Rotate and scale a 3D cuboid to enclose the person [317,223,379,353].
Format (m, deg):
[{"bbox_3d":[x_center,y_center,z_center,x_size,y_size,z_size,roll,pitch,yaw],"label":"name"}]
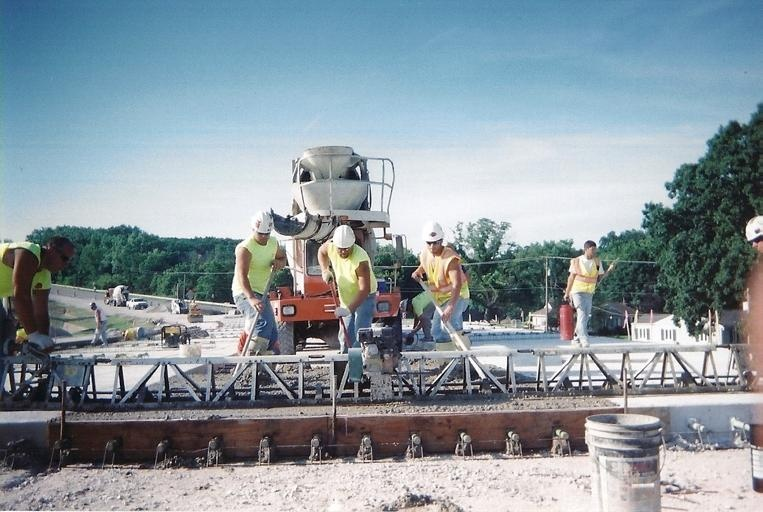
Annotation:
[{"bbox_3d":[-0.642,0.640,21.107,1.024,2.554,1.330,-1,-2,-8],"label":"person"}]

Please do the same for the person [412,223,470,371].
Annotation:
[{"bbox_3d":[1.225,0.626,21.394,1.049,2.580,1.539,-1,-2,3],"label":"person"}]

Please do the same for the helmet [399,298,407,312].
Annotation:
[{"bbox_3d":[0.534,1.212,25.690,0.196,0.294,0.274,-1,-3,-3],"label":"helmet"}]

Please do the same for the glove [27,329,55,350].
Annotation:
[{"bbox_3d":[-6.567,1.628,20.493,0.428,0.166,0.327,19,37,-16],"label":"glove"}]

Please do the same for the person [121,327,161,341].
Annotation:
[{"bbox_3d":[-9.728,3.183,42.940,1.565,0.650,0.463,-3,-4,23],"label":"person"}]

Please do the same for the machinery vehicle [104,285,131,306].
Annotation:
[{"bbox_3d":[-20.071,3.015,80.322,1.306,1.845,4.745,0,-3,-16],"label":"machinery vehicle"}]

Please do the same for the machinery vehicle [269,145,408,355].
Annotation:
[{"bbox_3d":[-1.200,-0.031,29.392,3.342,5.375,8.745,-2,-1,-2],"label":"machinery vehicle"}]

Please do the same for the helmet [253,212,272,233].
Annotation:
[{"bbox_3d":[-2.392,-0.662,21.170,0.375,0.418,0.694,-2,-2,11],"label":"helmet"}]

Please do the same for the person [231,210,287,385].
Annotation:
[{"bbox_3d":[-2.417,0.567,21.219,0.944,2.846,1.020,-1,-2,-21],"label":"person"}]

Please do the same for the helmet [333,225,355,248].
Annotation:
[{"bbox_3d":[-0.744,-0.367,20.921,0.402,0.459,0.261,-1,-2,-13],"label":"helmet"}]
